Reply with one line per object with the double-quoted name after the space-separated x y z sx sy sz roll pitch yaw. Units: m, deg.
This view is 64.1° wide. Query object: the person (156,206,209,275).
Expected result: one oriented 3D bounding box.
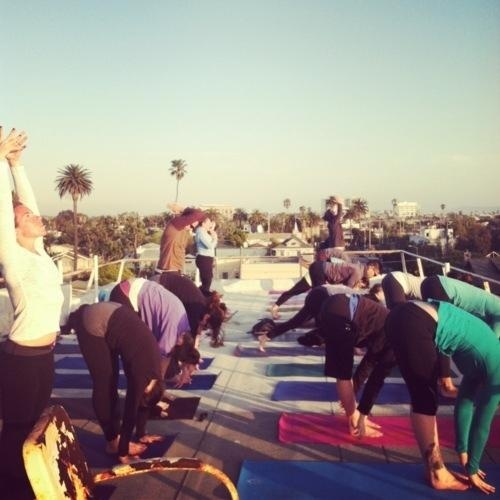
-0.878 -0.106 5.199 0.482 0.877 0.458 -1 -13 34 "person"
